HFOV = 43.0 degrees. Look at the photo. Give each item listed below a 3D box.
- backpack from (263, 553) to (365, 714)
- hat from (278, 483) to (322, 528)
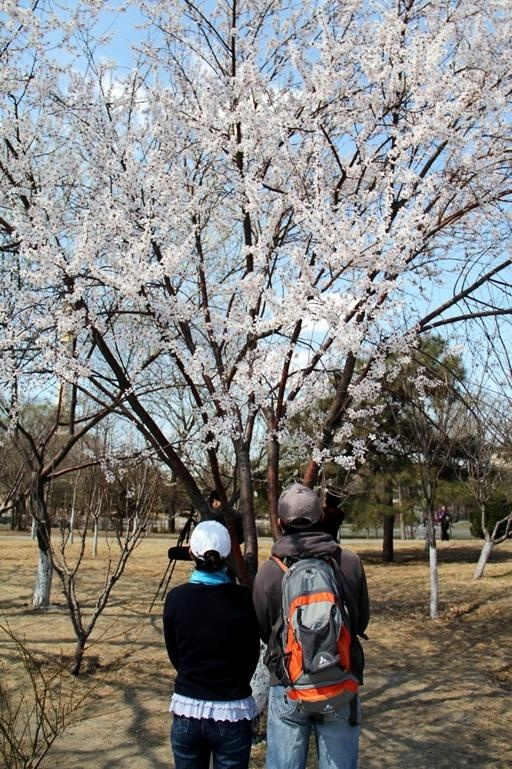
[{"bbox_3d":[0.229,0.980,2.530,0.376,0.581,0.322,-2,-6,0],"label":"backpack"},{"bbox_3d":[0.188,0.526,2.821,0.137,0.090,0.202,0,21,5],"label":"hat"}]
